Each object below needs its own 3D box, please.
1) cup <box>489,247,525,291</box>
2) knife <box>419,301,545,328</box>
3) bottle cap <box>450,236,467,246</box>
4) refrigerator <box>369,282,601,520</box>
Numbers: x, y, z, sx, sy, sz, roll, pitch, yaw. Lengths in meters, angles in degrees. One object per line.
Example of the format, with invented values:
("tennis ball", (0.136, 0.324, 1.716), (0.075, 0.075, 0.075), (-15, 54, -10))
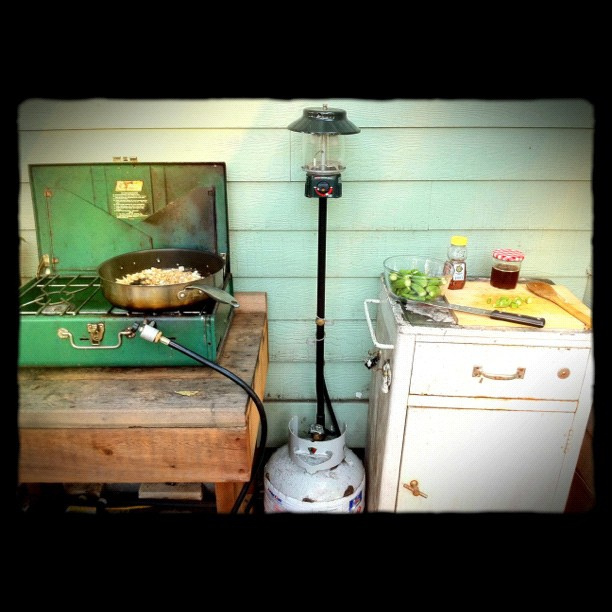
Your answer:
("cup", (0.646, -0.113, 1.951), (0.111, 0.104, 0.101), (5, 14, -1))
("knife", (0.536, 0.025, 1.670), (0.417, 0.025, 0.055), (11, 20, 30))
("bottle cap", (0.481, -0.204, 1.851), (0.041, 0.014, 0.039), (-5, 13, -33))
("refrigerator", (0.509, 0.317, 1.945), (0.468, 0.741, 0.646), (8, 23, 4))
